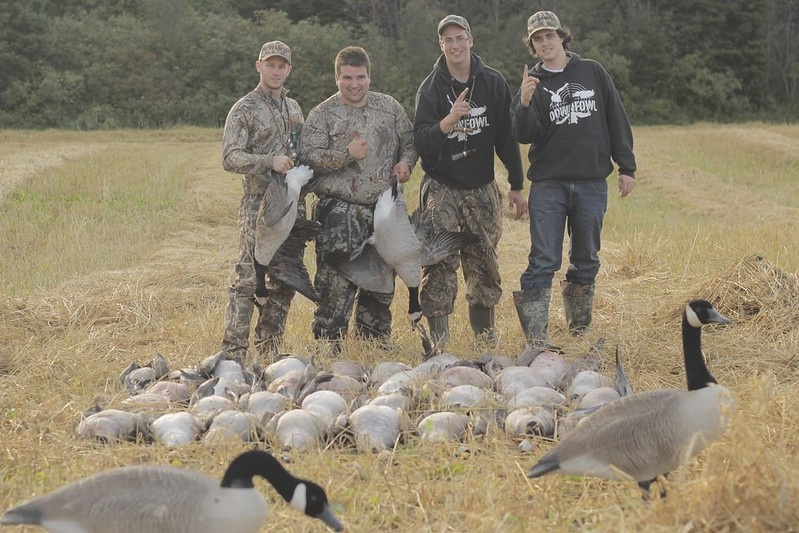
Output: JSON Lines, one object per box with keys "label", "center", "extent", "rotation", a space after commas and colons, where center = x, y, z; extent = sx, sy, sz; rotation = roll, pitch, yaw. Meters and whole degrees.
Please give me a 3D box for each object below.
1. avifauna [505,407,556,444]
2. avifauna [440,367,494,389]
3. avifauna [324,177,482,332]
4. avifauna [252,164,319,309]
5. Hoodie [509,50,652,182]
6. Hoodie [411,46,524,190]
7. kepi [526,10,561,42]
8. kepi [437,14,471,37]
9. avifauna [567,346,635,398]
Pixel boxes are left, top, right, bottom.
{"label": "avifauna", "center": [1.793, 2.171, 14.095], "extent": [0.468, 0.280, 0.452], "rotation": [-8, -5, 40]}
{"label": "avifauna", "center": [0.951, 1.570, 14.695], "extent": [0.501, 0.182, 0.379], "rotation": [0, 16, -17]}
{"label": "avifauna", "center": [-0.125, -0.237, 15.538], "extent": [2.030, 2.222, 1.399], "rotation": [-8, 24, -14]}
{"label": "avifauna", "center": [-1.762, -0.509, 15.585], "extent": [0.971, 1.467, 1.395], "rotation": [22, 22, -2]}
{"label": "Hoodie", "center": [2.797, -2.302, 16.471], "extent": [1.853, 2.378, 1.891], "rotation": [-7, -8, 10]}
{"label": "Hoodie", "center": [1.065, -2.177, 15.881], "extent": [1.677, 2.022, 0.769], "rotation": [1, 16, 0]}
{"label": "kepi", "center": [2.253, -3.703, 15.921], "extent": [0.518, 0.446, 0.380], "rotation": [-2, 17, -9]}
{"label": "kepi", "center": [0.865, -3.724, 15.848], "extent": [0.435, 0.267, 0.674], "rotation": [3, 18, 7]}
{"label": "avifauna", "center": [2.855, 1.537, 14.513], "extent": [0.856, 0.954, 0.609], "rotation": [-9, -17, 8]}
